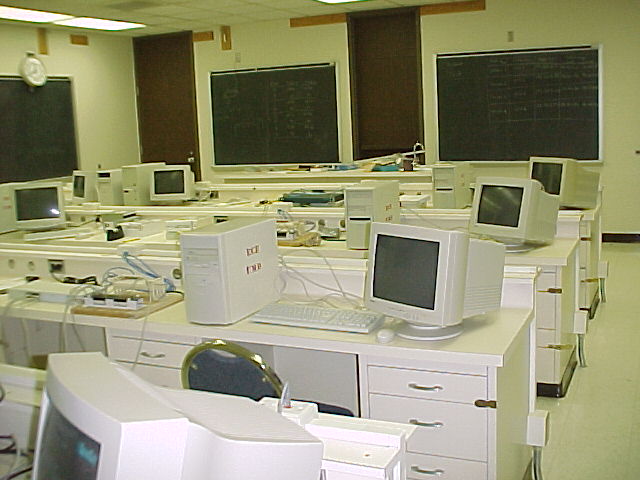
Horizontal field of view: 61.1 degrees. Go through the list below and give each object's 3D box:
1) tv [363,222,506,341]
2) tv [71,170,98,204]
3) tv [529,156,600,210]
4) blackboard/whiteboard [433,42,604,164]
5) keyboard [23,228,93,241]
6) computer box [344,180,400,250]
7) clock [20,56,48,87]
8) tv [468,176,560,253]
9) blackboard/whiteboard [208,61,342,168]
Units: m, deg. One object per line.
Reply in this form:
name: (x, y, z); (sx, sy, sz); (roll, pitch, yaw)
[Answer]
tv: (0.496, 0.075, 2.332); (0.490, 0.452, 0.496); (6, 16, 42)
tv: (-2.448, -0.545, 5.657); (0.377, 0.377, 0.208); (4, 6, 35)
tv: (2.021, -0.494, 4.466); (0.511, 0.446, 0.510); (7, 14, 40)
blackboard/whiteboard: (2.618, -1.797, 6.916); (2.034, 1.358, 0.143); (2, 12, 20)
keyboard: (-2.134, -0.051, 4.431); (0.274, 0.037, 0.264); (0, 10, 3)
computer box: (0.391, -0.166, 3.150); (0.254, 0.428, 0.447); (3, 12, 25)
clock: (-3.980, -2.348, 7.540); (0.134, 0.403, 0.328); (-5, -3, 38)
tv: (1.271, -0.245, 3.621); (0.505, 0.509, 0.500); (7, 17, 35)
blackboard/whiteboard: (-0.593, -1.920, 8.135); (1.904, 1.335, 0.086); (2, 11, 22)
